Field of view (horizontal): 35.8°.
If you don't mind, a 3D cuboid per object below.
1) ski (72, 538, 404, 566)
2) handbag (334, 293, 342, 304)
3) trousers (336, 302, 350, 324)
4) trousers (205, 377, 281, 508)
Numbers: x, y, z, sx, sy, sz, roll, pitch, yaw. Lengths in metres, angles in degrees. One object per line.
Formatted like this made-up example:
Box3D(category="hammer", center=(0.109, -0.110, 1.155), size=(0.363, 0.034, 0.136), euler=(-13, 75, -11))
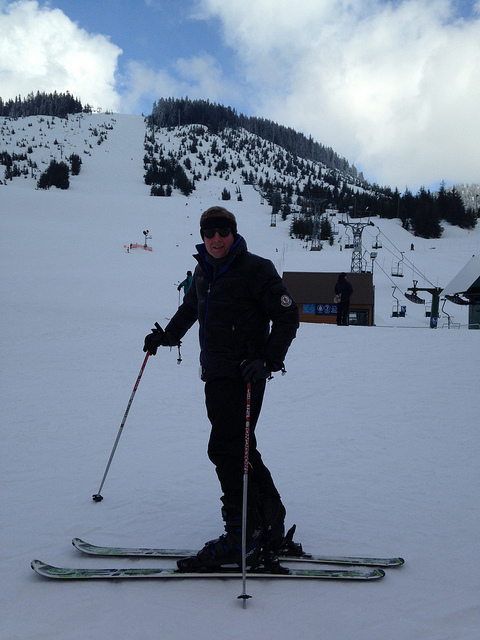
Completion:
Box3D(category="ski", center=(-0.055, 1.392, 4.475), size=(1.668, 0.098, 0.201), euler=(1, -21, 4))
Box3D(category="handbag", center=(2.139, -0.492, 16.129), size=(0.126, 0.290, 0.176), euler=(3, 6, -16))
Box3D(category="trousers", center=(2.333, -0.178, 16.626), size=(0.217, 0.569, 0.931), euler=(2, 7, 8))
Box3D(category="trousers", center=(0.024, 0.692, 4.415), size=(0.456, 0.776, 0.444), euler=(1, 7, -4))
